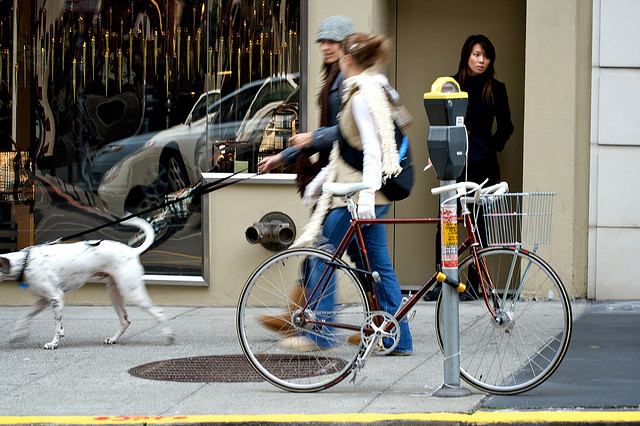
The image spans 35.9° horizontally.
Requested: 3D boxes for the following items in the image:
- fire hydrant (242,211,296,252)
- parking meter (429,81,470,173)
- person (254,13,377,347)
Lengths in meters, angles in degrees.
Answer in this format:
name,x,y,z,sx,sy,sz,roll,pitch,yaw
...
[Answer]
name,x,y,z,sx,sy,sz,roll,pitch,yaw
fire hydrant,-0.588,0.215,11.284,0.600,0.546,0.422,0,2,5
parking meter,1.081,-0.721,8.380,0.286,0.796,0.263,-5,6,-37
person,-0.044,-0.718,9.908,1.318,3.024,0.842,-18,48,-19
